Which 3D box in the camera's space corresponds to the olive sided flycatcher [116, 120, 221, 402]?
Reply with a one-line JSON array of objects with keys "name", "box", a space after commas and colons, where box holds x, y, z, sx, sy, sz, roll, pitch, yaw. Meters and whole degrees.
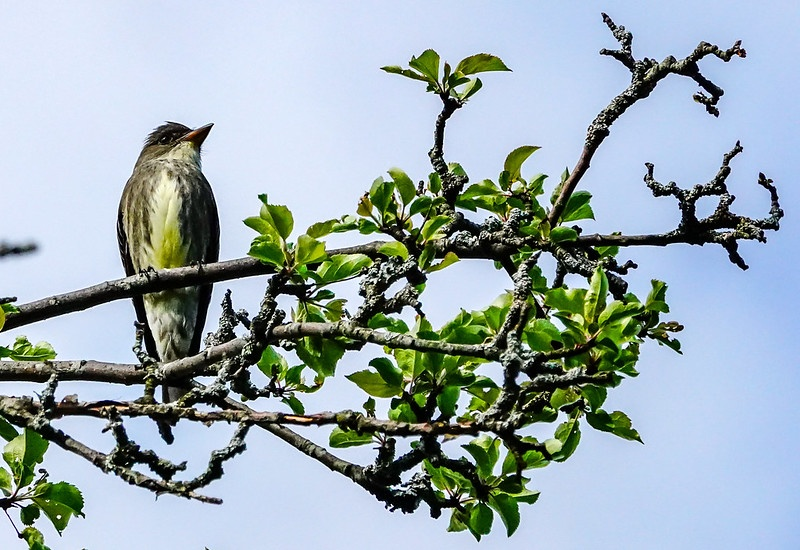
[{"name": "olive sided flycatcher", "box": [-1.756, -0.026, 8.670, 0.591, 2.243, 0.893, 4, -5, -24]}]
